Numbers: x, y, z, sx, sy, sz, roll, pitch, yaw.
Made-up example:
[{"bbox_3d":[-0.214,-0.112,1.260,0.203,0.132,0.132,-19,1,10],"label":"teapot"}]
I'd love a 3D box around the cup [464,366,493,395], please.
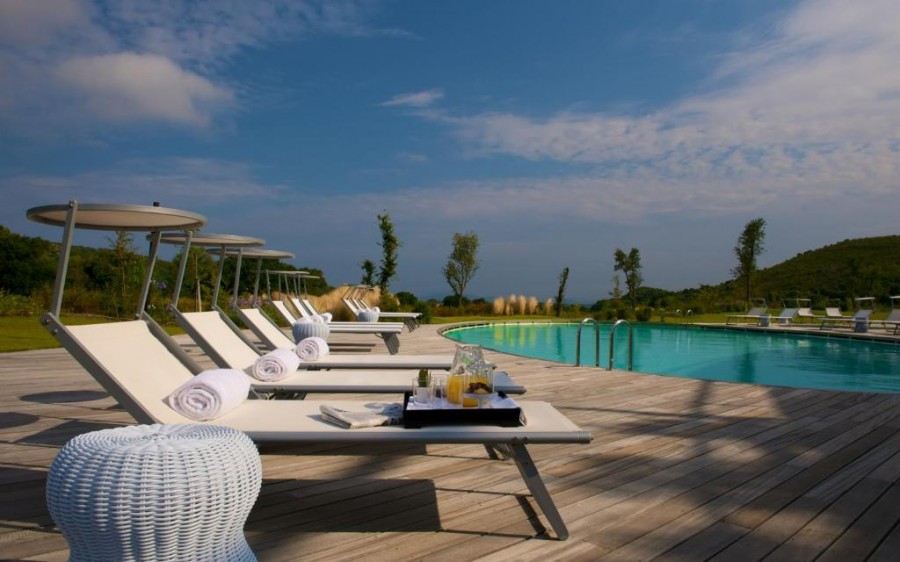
[{"bbox_3d":[0.273,0.900,4.998,0.262,0.216,0.246,0,-9,0],"label":"cup"}]
